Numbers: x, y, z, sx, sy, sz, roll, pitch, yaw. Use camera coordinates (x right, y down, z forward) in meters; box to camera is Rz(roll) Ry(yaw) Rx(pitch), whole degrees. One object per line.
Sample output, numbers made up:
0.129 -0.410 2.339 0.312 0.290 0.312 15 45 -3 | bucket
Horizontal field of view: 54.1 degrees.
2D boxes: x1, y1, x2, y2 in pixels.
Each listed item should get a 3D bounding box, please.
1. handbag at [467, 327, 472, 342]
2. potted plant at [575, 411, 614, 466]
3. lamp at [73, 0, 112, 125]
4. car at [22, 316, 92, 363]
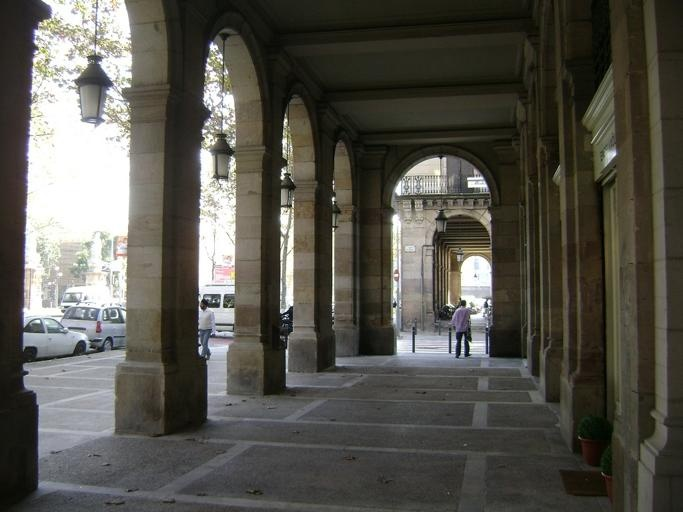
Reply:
4.019 2.520 21.219 0.150 0.399 0.765 -4 -14 14 | handbag
3.081 2.249 8.290 0.497 0.690 0.522 -2 -4 35 | potted plant
-3.286 -2.579 8.954 0.428 1.768 0.708 3 -3 -21 | lamp
-8.954 2.561 20.718 0.596 1.326 2.579 1 -4 20 | car
